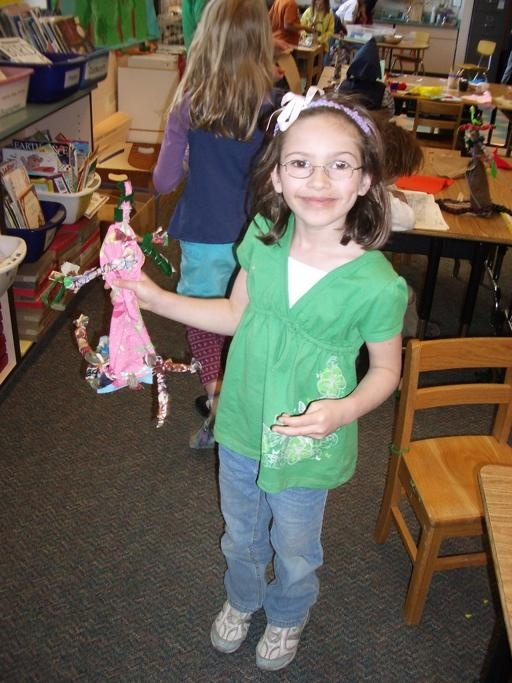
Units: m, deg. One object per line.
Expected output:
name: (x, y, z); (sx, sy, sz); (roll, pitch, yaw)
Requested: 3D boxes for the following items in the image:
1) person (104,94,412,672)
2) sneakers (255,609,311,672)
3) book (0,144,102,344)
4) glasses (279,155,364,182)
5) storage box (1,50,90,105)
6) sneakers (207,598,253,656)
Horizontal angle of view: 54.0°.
person: (0.049, 0.236, 1.024); (0.400, 1.330, 0.381); (25, 42, 34)
sneakers: (0.051, 0.722, 1.227); (0.071, 0.080, 0.181); (3, 4, 18)
book: (-0.931, -0.424, 2.332); (0.293, 0.844, 0.643); (11, 9, -24)
glasses: (0.090, -0.246, 0.712); (0.110, 0.025, 0.043); (5, 34, 8)
storage box: (-0.946, -1.141, 2.119); (0.388, 0.133, 0.305); (14, 36, 6)
sneakers: (-0.055, 0.706, 1.267); (0.075, 0.072, 0.176); (7, 2, 12)
